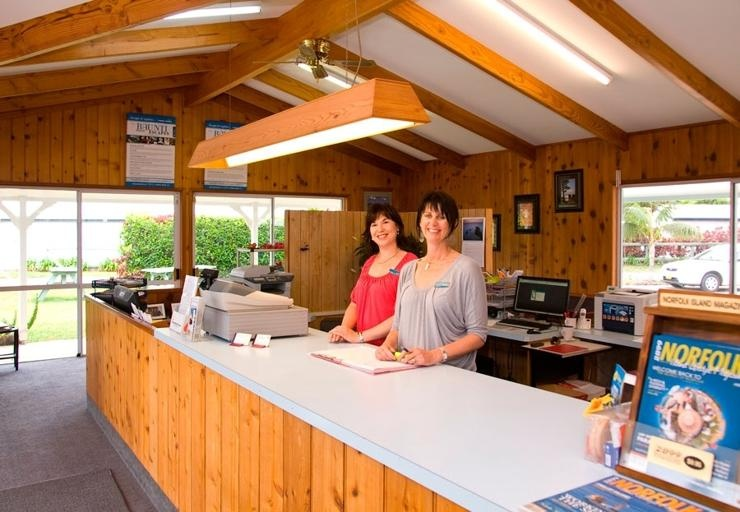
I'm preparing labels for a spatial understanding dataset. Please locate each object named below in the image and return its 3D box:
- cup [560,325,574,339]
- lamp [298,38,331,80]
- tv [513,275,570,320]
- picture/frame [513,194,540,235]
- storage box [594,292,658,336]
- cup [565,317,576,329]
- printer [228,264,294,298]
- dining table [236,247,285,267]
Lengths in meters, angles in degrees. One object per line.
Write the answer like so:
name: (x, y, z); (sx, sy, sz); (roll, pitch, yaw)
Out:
cup: (1.719, 0.669, 4.305); (0.122, 0.102, 0.090); (0, 1, -13)
lamp: (-0.510, -1.822, 4.440); (0.254, 0.378, 0.535); (-5, 9, -3)
tv: (1.627, 0.405, 4.790); (0.607, 0.391, 0.113); (7, 2, -18)
picture/frame: (2.386, -0.631, 7.514); (0.145, 0.577, 0.489); (-13, 12, -36)
storage box: (2.256, 0.490, 4.375); (0.549, 0.328, 0.532); (3, 1, 4)
cup: (1.772, 0.591, 4.374); (0.101, 0.090, 0.096); (0, 2, 0)
printer: (-1.294, 0.260, 5.871); (0.481, 0.300, 0.506); (15, 8, 42)
dining table: (-1.772, 0.011, 7.861); (0.753, 0.332, 0.702); (-6, 9, -13)
